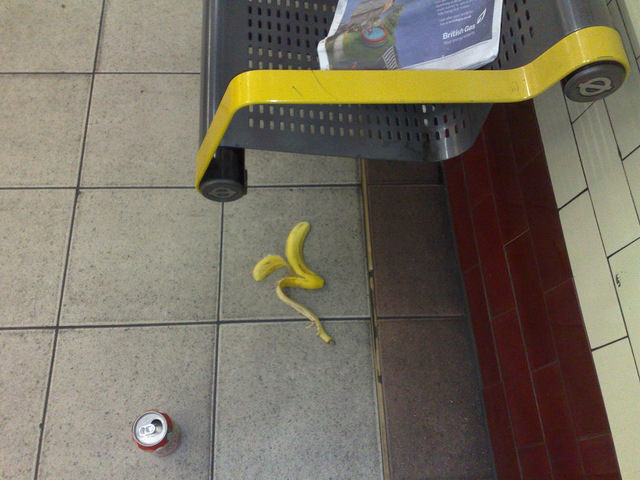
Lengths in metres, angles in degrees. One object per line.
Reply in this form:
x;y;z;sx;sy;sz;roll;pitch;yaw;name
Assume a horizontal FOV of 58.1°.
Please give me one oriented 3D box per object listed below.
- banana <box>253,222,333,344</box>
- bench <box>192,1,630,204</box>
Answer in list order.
-0.069;0.081;2.050;0.279;0.074;0.249;28;83;-38;banana
0.177;-0.373;1.610;0.754;0.351;0.716;-4;68;5;bench
